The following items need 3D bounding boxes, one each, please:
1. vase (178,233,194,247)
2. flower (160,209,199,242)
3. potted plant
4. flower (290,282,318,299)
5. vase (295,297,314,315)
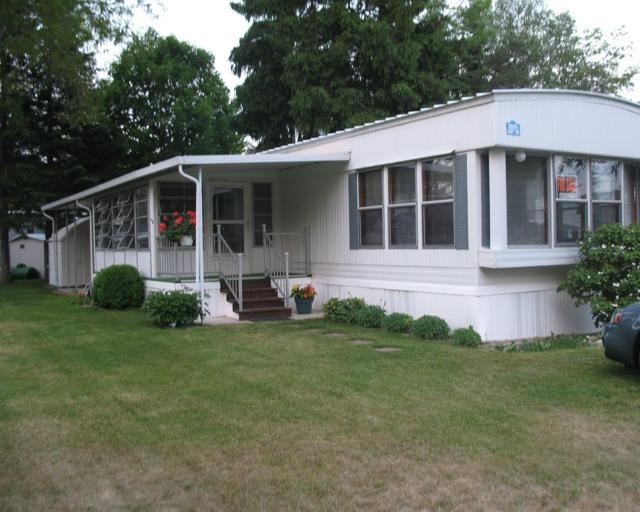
[{"bbox_3d":[-3.024,-0.353,13.307,0.240,0.217,0.264,1,-6,-21],"label":"vase"},{"bbox_3d":[-3.243,-0.645,13.406,0.749,0.662,0.784,-4,-3,40],"label":"flower"},{"bbox_3d":[-2.835,1.004,11.526,0.803,0.735,0.911,-1,2,-20],"label":"potted plant"},{"bbox_3d":[-0.392,0.806,13.317,0.548,0.334,0.720,-1,5,12],"label":"flower"},{"bbox_3d":[-0.364,1.108,13.007,0.308,0.297,0.350,1,-9,-11],"label":"vase"}]
